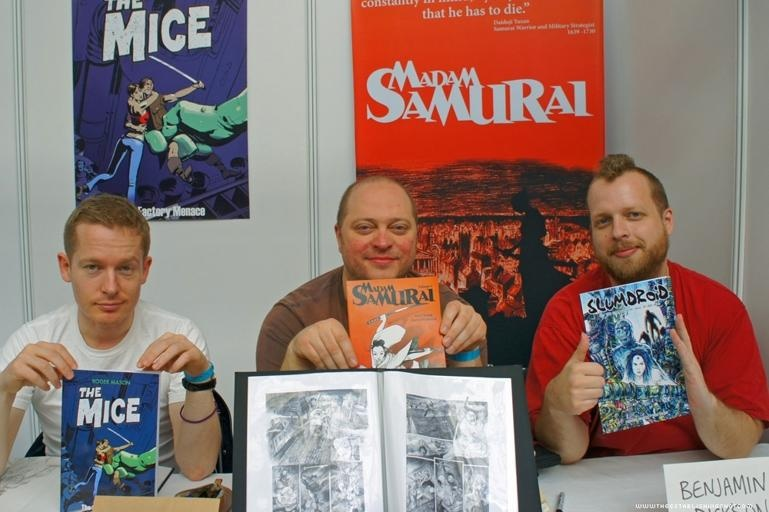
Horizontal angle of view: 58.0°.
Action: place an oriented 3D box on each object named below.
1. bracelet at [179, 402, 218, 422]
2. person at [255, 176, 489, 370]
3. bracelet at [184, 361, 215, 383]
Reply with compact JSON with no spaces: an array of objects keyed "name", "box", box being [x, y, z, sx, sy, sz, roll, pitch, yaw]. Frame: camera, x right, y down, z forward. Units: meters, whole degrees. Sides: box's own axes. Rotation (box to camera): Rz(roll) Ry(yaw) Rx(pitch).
[{"name":"bracelet","box":[-0.844,0.724,3.172,0.157,0.089,0.078,-2,-7,-15]},{"name":"person","box":[-0.042,0.111,3.396,1.148,1.009,0.756,0,-13,-16]},{"name":"bracelet","box":[-0.838,0.537,3.159,0.132,0.087,0.090,-3,-7,-13]}]
